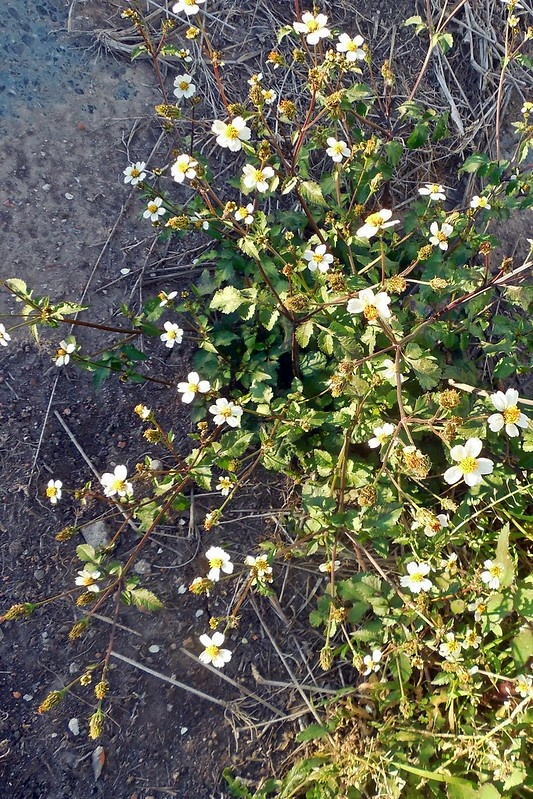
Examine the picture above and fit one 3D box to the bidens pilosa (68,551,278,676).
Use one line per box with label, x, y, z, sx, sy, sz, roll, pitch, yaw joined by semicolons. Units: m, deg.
bidens pilosa;-0.392;0.874;3.225;0.756;0.938;0.497;24;66;16
